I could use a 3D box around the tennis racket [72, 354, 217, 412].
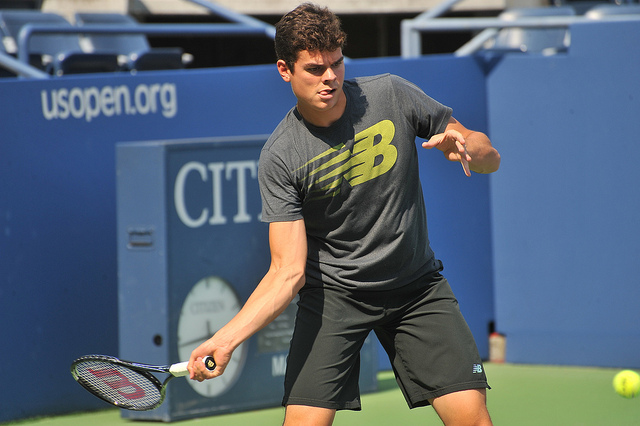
[{"bbox_3d":[-1.219,1.215,6.454,0.984,0.088,0.428,-24,-48,24],"label":"tennis racket"}]

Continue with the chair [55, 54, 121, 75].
[{"bbox_3d":[-2.032,-1.332,7.907,0.568,0.165,0.124,-12,18,-37],"label":"chair"}]

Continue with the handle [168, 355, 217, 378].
[{"bbox_3d":[-0.841,0.984,5.726,0.123,0.146,0.511,40,-29,-21],"label":"handle"}]

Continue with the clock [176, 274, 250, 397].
[{"bbox_3d":[-0.952,1.027,7.613,0.866,1.332,0.090,4,42,-9],"label":"clock"}]

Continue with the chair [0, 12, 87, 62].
[{"bbox_3d":[-2.410,-1.552,7.848,0.661,0.425,0.543,-10,16,-31],"label":"chair"}]

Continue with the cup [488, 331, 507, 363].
[{"bbox_3d":[1.687,1.275,8.568,0.175,0.274,0.142,2,14,10],"label":"cup"}]
